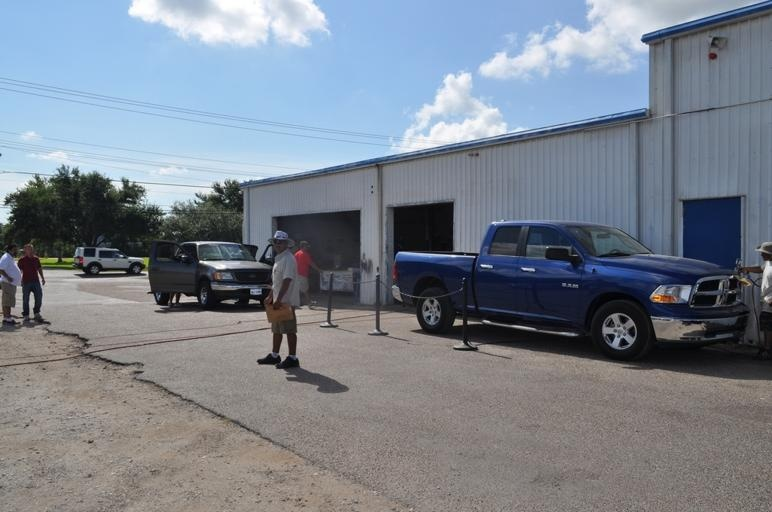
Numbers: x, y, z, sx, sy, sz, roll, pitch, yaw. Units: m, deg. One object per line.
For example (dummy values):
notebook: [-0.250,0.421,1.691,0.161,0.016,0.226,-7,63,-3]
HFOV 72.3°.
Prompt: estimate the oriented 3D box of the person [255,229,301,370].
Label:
person: [-1.849,0.744,9.193,0.673,2.309,1.149,-2,7,-12]

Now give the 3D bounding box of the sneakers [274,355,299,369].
sneakers: [-1.660,1.810,8.925,0.395,0.204,0.173,4,-6,-24]

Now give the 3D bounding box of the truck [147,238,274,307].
truck: [-5.691,0.580,16.592,2.124,1.641,3.736,2,-5,-40]

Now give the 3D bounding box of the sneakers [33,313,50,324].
sneakers: [-9.159,1.678,14.012,0.579,0.281,0.192,-1,-2,32]

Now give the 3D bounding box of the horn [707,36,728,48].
horn: [7.247,-4.637,11.456,0.325,0.273,0.112,1,7,16]

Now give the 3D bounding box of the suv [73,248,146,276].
suv: [-20.679,0.363,39.643,4.608,2.046,2.198,-3,3,-37]

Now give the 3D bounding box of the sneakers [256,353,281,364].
sneakers: [-1.985,1.777,9.167,0.473,0.229,0.179,2,-6,6]
